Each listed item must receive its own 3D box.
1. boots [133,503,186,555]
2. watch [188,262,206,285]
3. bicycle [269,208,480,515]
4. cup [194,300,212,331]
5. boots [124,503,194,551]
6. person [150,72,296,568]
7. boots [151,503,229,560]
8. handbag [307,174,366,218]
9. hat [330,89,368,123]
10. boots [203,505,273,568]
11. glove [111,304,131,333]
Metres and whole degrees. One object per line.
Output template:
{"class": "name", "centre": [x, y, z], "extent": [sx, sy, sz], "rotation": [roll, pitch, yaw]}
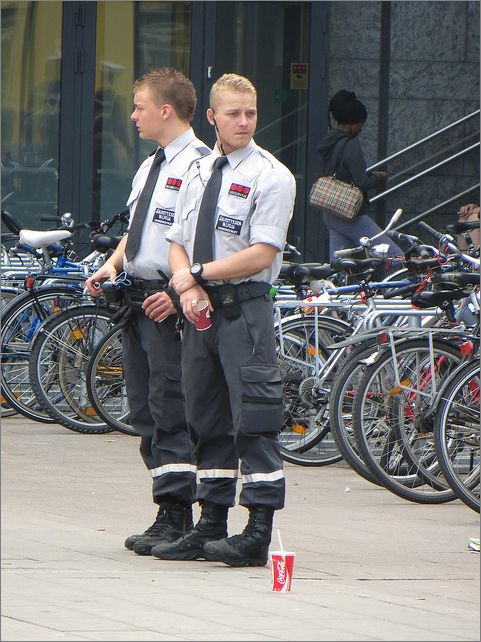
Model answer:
{"class": "boots", "centre": [-0.290, 0.795, 3.913], "extent": [0.105, 0.159, 0.291], "rotation": [0, 2, 39]}
{"class": "watch", "centre": [-0.149, -0.163, 3.542], "extent": [0.052, 0.076, 0.074], "rotation": [10, -19, 22]}
{"class": "bicycle", "centre": [0.875, 0.286, 5.448], "extent": [0.712, 1.300, 1.385], "rotation": [2, 4, -14]}
{"class": "cup", "centre": [-0.129, -0.019, 3.557], "extent": [0.051, 0.103, 0.039], "rotation": [2, 4, -5]}
{"class": "boots", "centre": [-0.306, 0.802, 3.910], "extent": [0.134, 0.175, 0.387], "rotation": [0, -2, 26]}
{"class": "person", "centre": [-0.056, -0.003, 3.673], "extent": [0.519, 1.778, 0.353], "rotation": [4, 5, 16]}
{"class": "boots", "centre": [-0.146, 0.775, 3.774], "extent": [0.358, 0.232, 0.124], "rotation": [-10, -9, 31]}
{"class": "handbag", "centre": [0.816, -1.042, 8.499], "extent": [0.448, 0.357, 0.151], "rotation": [22, -4, 16]}
{"class": "hat", "centre": [0.922, -1.842, 8.782], "extent": [0.360, 0.275, 0.254], "rotation": [-2, 4, -15]}
{"class": "boots", "centre": [-0.003, 0.768, 3.614], "extent": [0.117, 0.214, 0.304], "rotation": [3, -8, 40]}
{"class": "glove", "centre": [-0.467, -0.006, 4.040], "extent": [0.043, 0.099, 0.074], "rotation": [38, 4, -11]}
